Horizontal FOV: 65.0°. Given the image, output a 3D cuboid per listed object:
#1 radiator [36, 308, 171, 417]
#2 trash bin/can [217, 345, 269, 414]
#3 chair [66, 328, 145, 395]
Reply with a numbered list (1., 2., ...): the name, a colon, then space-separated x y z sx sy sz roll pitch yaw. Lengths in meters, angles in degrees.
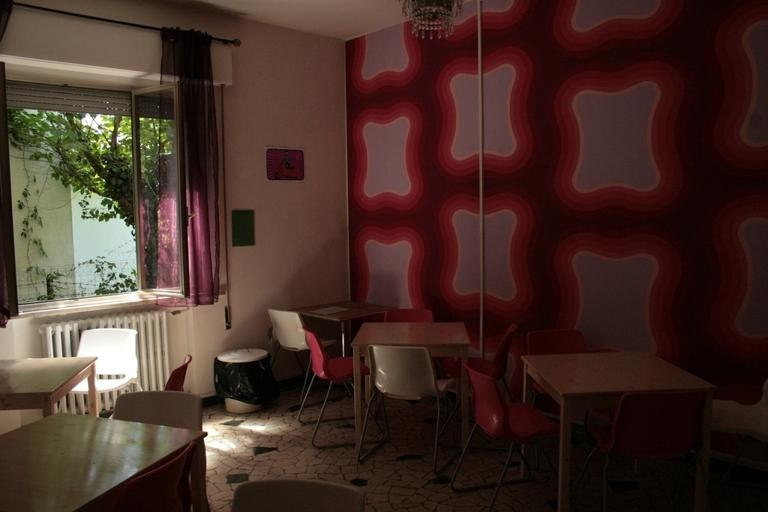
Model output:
1. radiator: -2.601 0.953 5.450 1.004 0.909 0.167 -1 -7 -32
2. trash bin/can: -1.402 1.282 6.345 0.565 0.525 0.558 -1 4 0
3. chair: -2.606 0.989 5.874 0.545 0.758 0.611 0 -2 -7
